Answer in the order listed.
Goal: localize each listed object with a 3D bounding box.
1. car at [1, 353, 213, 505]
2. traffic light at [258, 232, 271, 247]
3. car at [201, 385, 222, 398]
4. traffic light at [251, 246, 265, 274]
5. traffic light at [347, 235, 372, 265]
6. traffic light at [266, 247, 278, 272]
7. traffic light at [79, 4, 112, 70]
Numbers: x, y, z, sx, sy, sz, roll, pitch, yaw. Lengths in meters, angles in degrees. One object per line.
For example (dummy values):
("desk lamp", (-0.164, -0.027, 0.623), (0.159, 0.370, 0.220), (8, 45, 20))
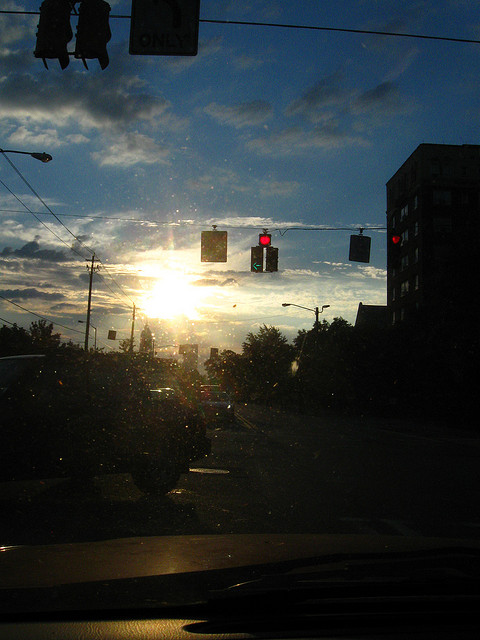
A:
("car", (-1.656, 1.170, 7.454), (1.339, 1.203, 2.689), (-13, -22, 42))
("traffic light", (0.671, -2.241, 17.067), (0.297, 0.381, 0.760), (9, -6, -1))
("car", (-1.716, 4.144, 36.658), (0.994, 0.901, 1.710), (1, 4, -4))
("traffic light", (0.492, -1.676, 17.431), (0.362, 0.687, 0.272), (9, -6, -6))
("traffic light", (3.875, -2.251, 20.189), (0.616, 0.831, 0.491), (6, -7, 23))
("traffic light", (0.852, -1.647, 17.362), (0.348, 0.709, 0.457), (9, -6, 1))
("traffic light", (-1.761, -3.427, 7.578), (0.435, 0.511, 0.298), (11, -6, -17))
